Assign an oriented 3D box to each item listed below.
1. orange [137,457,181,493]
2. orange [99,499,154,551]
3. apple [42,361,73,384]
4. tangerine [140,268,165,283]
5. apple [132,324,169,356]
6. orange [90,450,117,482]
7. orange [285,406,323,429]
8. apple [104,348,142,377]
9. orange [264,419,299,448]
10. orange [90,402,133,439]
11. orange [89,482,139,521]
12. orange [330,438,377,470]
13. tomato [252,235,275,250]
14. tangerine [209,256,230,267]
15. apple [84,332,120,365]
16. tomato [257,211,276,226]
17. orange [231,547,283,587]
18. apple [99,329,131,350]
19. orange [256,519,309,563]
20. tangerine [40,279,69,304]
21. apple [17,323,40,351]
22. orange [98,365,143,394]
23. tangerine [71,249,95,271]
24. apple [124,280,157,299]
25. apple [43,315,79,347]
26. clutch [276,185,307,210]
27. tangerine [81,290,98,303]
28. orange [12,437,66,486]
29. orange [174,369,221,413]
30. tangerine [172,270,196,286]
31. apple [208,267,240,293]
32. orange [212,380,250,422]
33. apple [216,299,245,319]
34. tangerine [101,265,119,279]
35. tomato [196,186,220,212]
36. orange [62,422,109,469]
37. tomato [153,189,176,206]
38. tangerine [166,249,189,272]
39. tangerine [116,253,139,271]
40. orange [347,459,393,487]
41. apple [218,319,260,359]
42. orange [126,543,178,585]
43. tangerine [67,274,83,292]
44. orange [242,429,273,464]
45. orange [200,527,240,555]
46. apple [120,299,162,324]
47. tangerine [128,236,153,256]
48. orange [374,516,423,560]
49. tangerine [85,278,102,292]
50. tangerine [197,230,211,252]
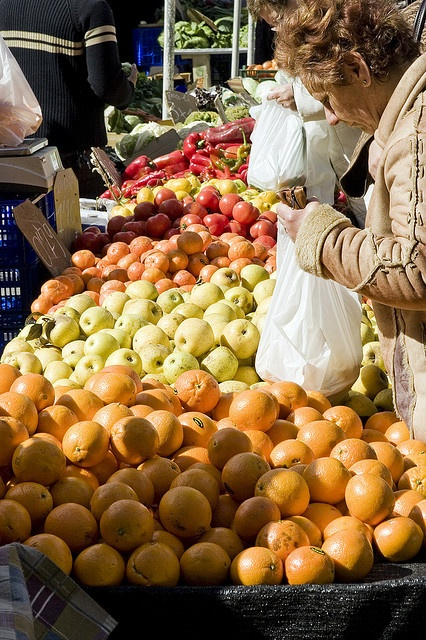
[{"bbox_3d":[-0.143,0.416,1.469,0.088,0.098,0.085,20,26,0],"label":"orange"},{"bbox_3d":[-0.195,0.454,1.255,0.115,0.103,0.104,-1,8,1],"label":"orange"},{"bbox_3d":[-0.656,0.216,2.314,0.089,0.087,0.109,43,57,6],"label":"apple"},{"bbox_3d":[-0.341,-0.256,3.064,0.127,0.098,0.100,4,-19,-18],"label":"tangerine"},{"bbox_3d":[-0.280,0.095,2.507,0.138,0.146,0.129,-3,-12,-40],"label":"apple"},{"bbox_3d":[-0.302,0.414,1.562,0.067,0.079,0.067,16,-17,30],"label":"orange"},{"bbox_3d":[0.314,0.331,1.863,0.075,0.088,0.077,-28,14,17],"label":"orange"},{"bbox_3d":[-0.372,0.168,2.293,0.120,0.115,0.118,-13,-5,-32],"label":"apple"},{"bbox_3d":[0.225,0.367,1.790,0.082,0.093,0.078,-24,-8,-14],"label":"orange"},{"bbox_3d":[-0.298,0.308,1.649,0.084,0.097,0.088,-23,-4,16],"label":"orange"},{"bbox_3d":[-0.238,0.419,1.311,0.094,0.087,0.088,-4,30,18],"label":"orange"},{"bbox_3d":[0.407,0.382,1.619,0.107,0.084,0.085,18,32,-35],"label":"orange"},{"bbox_3d":[0.342,-0.519,3.596,0.110,0.110,0.110,44,12,5],"label":"tomato"},{"bbox_3d":[0.032,-0.356,3.266,0.101,0.076,0.077,3,38,0],"label":"tangerine"},{"bbox_3d":[-0.478,0.106,2.319,0.152,0.115,0.121,-10,18,-39],"label":"apple"},{"bbox_3d":[0.385,-0.736,3.918,0.110,0.122,0.105,3,-3,2],"label":"tomato"},{"bbox_3d":[0.094,0.515,1.129,0.087,0.081,0.087,-2,13,-6],"label":"orange"},{"bbox_3d":[-0.423,0.077,2.444,0.103,0.112,0.100,-18,7,14],"label":"apple"},{"bbox_3d":[0.151,0.479,1.197,0.082,0.077,0.083,-8,3,5],"label":"orange"},{"bbox_3d":[-0.849,-0.155,2.985,0.135,0.130,0.130,-37,0,-13],"label":"tangerine"},{"bbox_3d":[-0.845,0.070,2.555,0.138,0.102,0.080,-12,-3,40],"label":"apple"},{"bbox_3d":[-0.339,0.201,1.946,0.122,0.112,0.108,2,5,-3],"label":"orange"},{"bbox_3d":[-0.792,-0.377,3.416,0.131,0.123,0.128,10,44,12],"label":"tangerine"},{"bbox_3d":[-0.383,-0.156,2.873,0.139,0.109,0.110,19,-29,-27],"label":"apple"},{"bbox_3d":[-0.701,0.044,2.560,0.156,0.137,0.147,-2,4,0],"label":"apple"},{"bbox_3d":[0.250,-0.401,1.756,0.082,0.042,0.101,-11,20,-34],"label":"clutch"},{"bbox_3d":[-0.681,-0.135,2.997,0.074,0.067,0.070,3,-17,-3],"label":"tangerine"},{"bbox_3d":[-0.436,0.364,1.409,0.143,0.111,0.121,15,42,-20],"label":"orange"},{"bbox_3d":[-0.059,0.257,1.974,0.169,0.152,0.153,2,9,-6],"label":"orange"},{"bbox_3d":[-0.175,-0.251,3.143,0.107,0.096,0.100,-1,56,1],"label":"tangerine"},{"bbox_3d":[0.071,-0.221,2.917,0.144,0.160,0.140,5,7,8],"label":"apple"},{"bbox_3d":[0.079,0.304,2.124,0.126,0.139,0.118,2,-9,-9],"label":"orange"},{"bbox_3d":[0.085,-0.052,2.746,0.107,0.097,0.103,8,39,15],"label":"apple"},{"bbox_3d":[-0.612,-0.286,3.228,0.073,0.070,0.088,-25,-15,21],"label":"tangerine"},{"bbox_3d":[-0.018,-0.913,4.072,0.185,0.186,0.174,2,-24,0],"label":"tomato"},{"bbox_3d":[-0.349,0.347,1.487,0.095,0.092,0.112,-26,-13,11],"label":"orange"},{"bbox_3d":[-0.346,-0.934,4.079,0.153,0.149,0.147,1,19,11],"label":"tomato"},{"bbox_3d":[-0.207,-0.351,3.266,0.130,0.124,0.124,12,54,5],"label":"tangerine"},{"bbox_3d":[-0.521,-0.361,3.312,0.105,0.105,0.105,-41,36,6],"label":"tangerine"},{"bbox_3d":[0.428,0.399,1.454,0.086,0.096,0.088,-13,5,32],"label":"orange"},{"bbox_3d":[0.135,0.096,2.529,0.173,0.173,0.156,-9,35,-17],"label":"apple"},{"bbox_3d":[-0.128,0.501,1.167,0.098,0.089,0.089,3,-7,-22],"label":"orange"},{"bbox_3d":[-0.785,-0.215,3.133,0.106,0.117,0.100,-2,6,-10],"label":"tangerine"},{"bbox_3d":[0.136,0.389,1.673,0.088,0.097,0.085,-1,2,0],"label":"orange"},{"bbox_3d":[0.016,0.504,1.249,0.057,0.063,0.057,21,13,-3],"label":"orange"},{"bbox_3d":[-0.345,-0.052,2.688,0.188,0.140,0.139,3,39,-8],"label":"apple"},{"bbox_3d":[-0.455,-0.476,3.451,0.146,0.109,0.103,-20,31,-9],"label":"tangerine"},{"bbox_3d":[0.433,0.511,1.318,0.107,0.094,0.093,-8,58,-15],"label":"orange"},{"bbox_3d":[-0.709,-0.213,3.186,0.088,0.077,0.081,-10,33,-29],"label":"tangerine"},{"bbox_3d":[-0.045,-0.504,3.464,0.069,0.114,0.089,16,-9,-41],"label":"tangerine"}]
